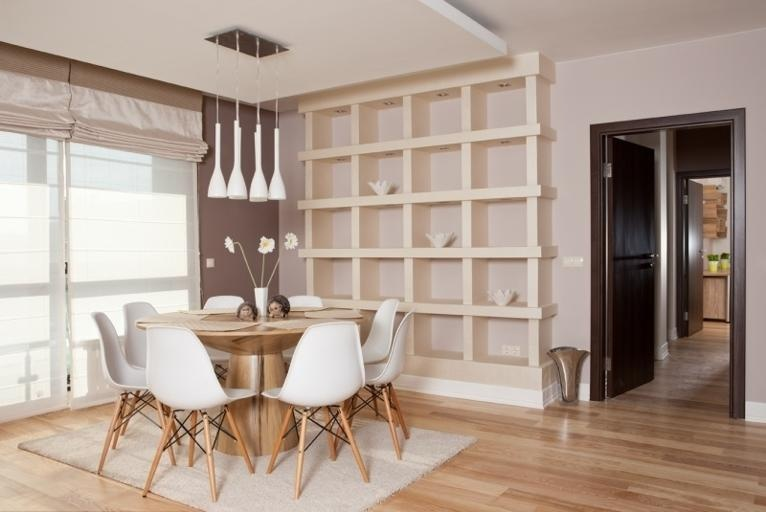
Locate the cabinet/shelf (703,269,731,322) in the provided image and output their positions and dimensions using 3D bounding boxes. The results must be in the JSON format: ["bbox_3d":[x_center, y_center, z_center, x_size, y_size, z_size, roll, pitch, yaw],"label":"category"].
[{"bbox_3d":[6.201,0.777,9.822,0.418,0.928,0.293,4,8,31],"label":"cabinet/shelf"}]

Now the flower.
[{"bbox_3d":[-1.355,0.021,5.872,0.860,0.729,0.845,1,0,-45],"label":"flower"}]

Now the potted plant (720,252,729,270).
[{"bbox_3d":[6.712,0.101,10.378,0.130,0.304,0.538,3,7,27],"label":"potted plant"}]
